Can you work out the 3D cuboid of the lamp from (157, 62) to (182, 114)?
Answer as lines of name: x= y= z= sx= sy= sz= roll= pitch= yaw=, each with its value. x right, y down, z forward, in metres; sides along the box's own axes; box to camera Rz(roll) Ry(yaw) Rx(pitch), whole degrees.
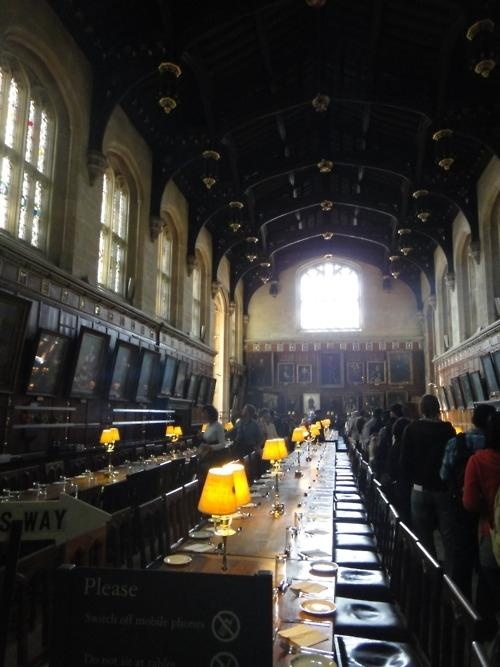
lamp: x=-1.352 y=-4.011 z=7.701 sx=0.422 sy=0.695 sz=0.419 roll=-7 pitch=21 yaw=-41

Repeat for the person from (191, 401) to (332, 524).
person: x=0.047 y=0.953 z=3.212 sx=0.537 sy=0.702 sz=1.603 roll=-3 pitch=-21 yaw=9
